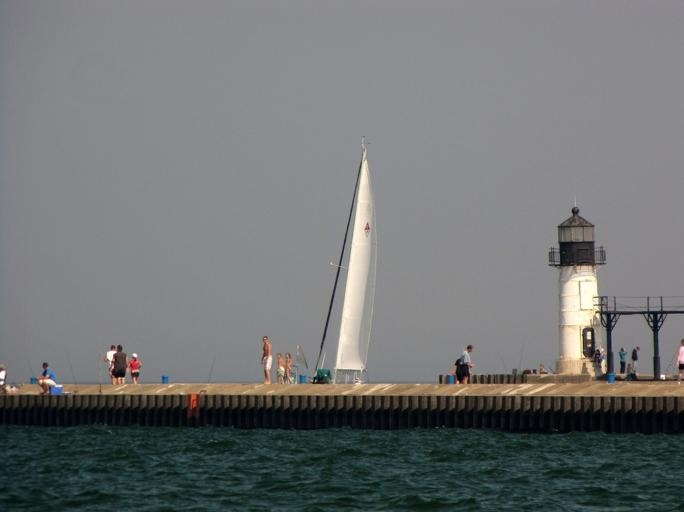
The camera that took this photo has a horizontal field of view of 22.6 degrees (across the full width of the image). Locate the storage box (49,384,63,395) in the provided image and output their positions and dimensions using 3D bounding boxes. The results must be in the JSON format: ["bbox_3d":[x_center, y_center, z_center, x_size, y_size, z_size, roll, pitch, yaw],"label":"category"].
[{"bbox_3d":[-12.254,5.793,73.892,0.441,0.267,0.433,0,1,-6],"label":"storage box"}]

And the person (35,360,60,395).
[{"bbox_3d":[-12.678,5.353,73.995,0.801,1.263,3.033,2,-8,-10],"label":"person"}]

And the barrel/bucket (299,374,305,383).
[{"bbox_3d":[-1.702,5.399,74.405,0.302,0.380,0.975,1,-8,-2],"label":"barrel/bucket"}]

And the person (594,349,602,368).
[{"bbox_3d":[12.766,5.168,86.019,0.415,0.916,0.324,-2,-8,21],"label":"person"}]

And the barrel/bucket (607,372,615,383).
[{"bbox_3d":[11.701,5.342,74.776,0.486,0.441,0.474,0,-6,0],"label":"barrel/bucket"}]
